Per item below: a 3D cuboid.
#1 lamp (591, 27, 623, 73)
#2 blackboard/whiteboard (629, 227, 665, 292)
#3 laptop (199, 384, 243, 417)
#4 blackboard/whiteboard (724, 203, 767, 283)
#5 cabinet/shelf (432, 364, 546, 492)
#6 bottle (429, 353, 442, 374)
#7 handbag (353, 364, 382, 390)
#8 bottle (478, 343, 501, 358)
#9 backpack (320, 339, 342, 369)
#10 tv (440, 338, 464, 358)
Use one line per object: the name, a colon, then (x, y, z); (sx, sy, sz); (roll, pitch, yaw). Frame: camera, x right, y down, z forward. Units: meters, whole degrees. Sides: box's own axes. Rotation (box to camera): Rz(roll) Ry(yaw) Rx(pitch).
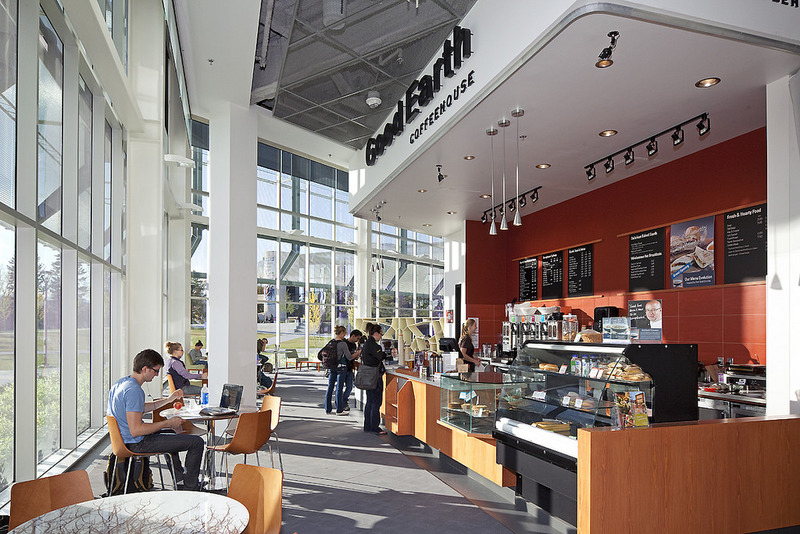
lamp: (2.136, -2.116, 5.578); (0.194, 0.278, 0.625); (0, -9, 14)
blackboard/whiteboard: (3.982, -0.093, 8.685); (0.100, 1.353, 0.975); (5, -5, -18)
laptop: (-2.018, 1.554, 6.199); (0.317, 0.247, 0.405); (7, -11, -35)
blackboard/whiteboard: (4.661, -0.281, 7.309); (0.146, 1.006, 0.599); (5, -9, -13)
cabinet/shelf: (1.236, 1.765, 6.692); (1.146, 1.328, 1.872); (-1, 2, -27)
bottle: (0.546, 1.482, 8.233); (0.237, 0.326, 0.257); (-2, 1, 0)
handbag: (-0.507, 1.844, 8.976); (0.568, 0.570, 0.295); (1, -16, 8)
bottle: (1.798, 1.647, 10.561); (0.343, 0.245, 0.259); (0, -4, -7)
backpack: (-1.449, 1.694, 10.382); (0.529, 0.532, 0.387); (8, -12, -32)
tv: (0.897, 1.387, 9.299); (0.297, 0.325, 0.237); (-3, 0, -20)
